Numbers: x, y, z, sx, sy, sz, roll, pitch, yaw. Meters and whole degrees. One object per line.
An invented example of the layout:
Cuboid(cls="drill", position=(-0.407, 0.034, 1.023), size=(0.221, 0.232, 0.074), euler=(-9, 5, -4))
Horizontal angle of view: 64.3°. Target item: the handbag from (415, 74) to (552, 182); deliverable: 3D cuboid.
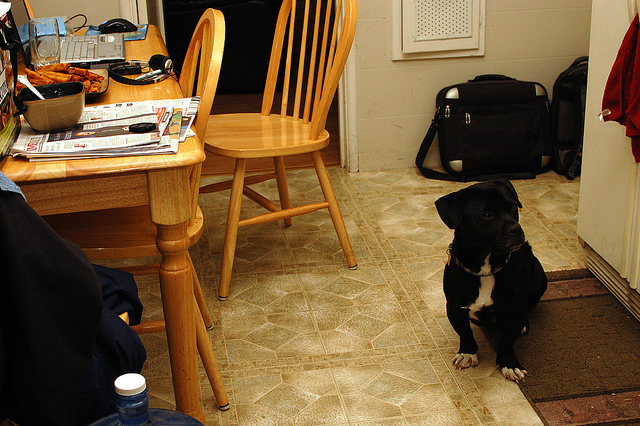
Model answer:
Cuboid(cls="handbag", position=(1.064, -0.531, 3.215), size=(0.905, 0.620, 0.513), euler=(-3, 2, -3))

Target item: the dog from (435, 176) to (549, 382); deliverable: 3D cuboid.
Cuboid(cls="dog", position=(0.628, 0.207, 1.915), size=(0.414, 0.674, 0.851), euler=(0, 7, 21))

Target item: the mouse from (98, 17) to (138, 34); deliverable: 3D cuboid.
Cuboid(cls="mouse", position=(-1.039, -0.959, 2.589), size=(0.145, 0.048, 0.105), euler=(-7, 24, -13))

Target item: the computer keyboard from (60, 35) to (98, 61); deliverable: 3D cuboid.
Cuboid(cls="computer keyboard", position=(-1.055, -0.721, 2.230), size=(0.178, 0.043, 0.249), euler=(-4, 35, -18))

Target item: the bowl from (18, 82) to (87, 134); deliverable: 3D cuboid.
Cuboid(cls="bowl", position=(-0.683, -0.261, 1.312), size=(0.142, 0.095, 0.163), euler=(-5, 27, -12))

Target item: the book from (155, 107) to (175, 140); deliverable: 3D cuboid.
Cuboid(cls="book", position=(-0.412, -0.237, 1.352), size=(0.053, 0.010, 0.135), euler=(3, 41, -2))
